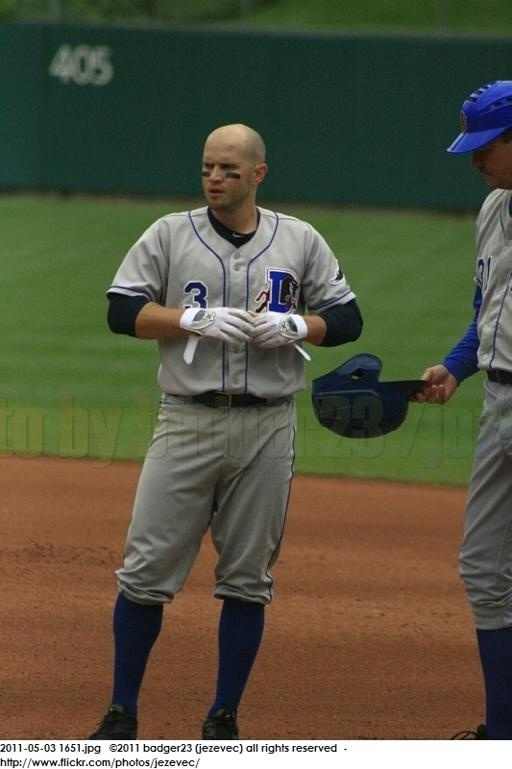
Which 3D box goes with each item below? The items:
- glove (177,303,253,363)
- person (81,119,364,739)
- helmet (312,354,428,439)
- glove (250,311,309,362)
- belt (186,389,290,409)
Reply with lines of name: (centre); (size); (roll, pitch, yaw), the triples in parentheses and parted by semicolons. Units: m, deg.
glove: (-0.111, -0.145, 2.879); (0.172, 0.157, 0.071); (-10, -5, 11)
person: (-0.073, 0.131, 3.038); (0.699, 1.674, 0.598); (3, 12, -8)
helmet: (0.342, 0.040, 3.300); (0.332, 0.197, 0.234); (1, -11, 1)
glove: (0.072, -0.142, 2.927); (0.154, 0.090, 0.076); (2, 11, -9)
belt: (-0.043, 0.043, 3.028); (0.295, 0.050, 0.084); (1, 11, -12)
